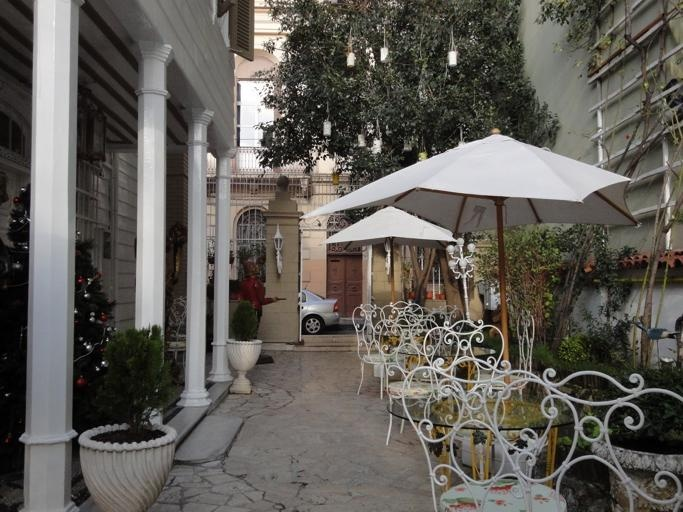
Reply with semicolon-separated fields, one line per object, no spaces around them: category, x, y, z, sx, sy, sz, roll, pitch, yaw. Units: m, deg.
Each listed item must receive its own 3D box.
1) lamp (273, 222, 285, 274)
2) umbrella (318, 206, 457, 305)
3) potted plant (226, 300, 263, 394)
lamp;-1.655;-0.175;15.077;0.273;1.316;0.278;0;-1;36
umbrella;0.938;-0.175;10.229;1.641;1.372;1.769;0;-3;5
potted plant;-1.631;1.457;9.537;0.533;1.442;1.254;0;-1;-12
